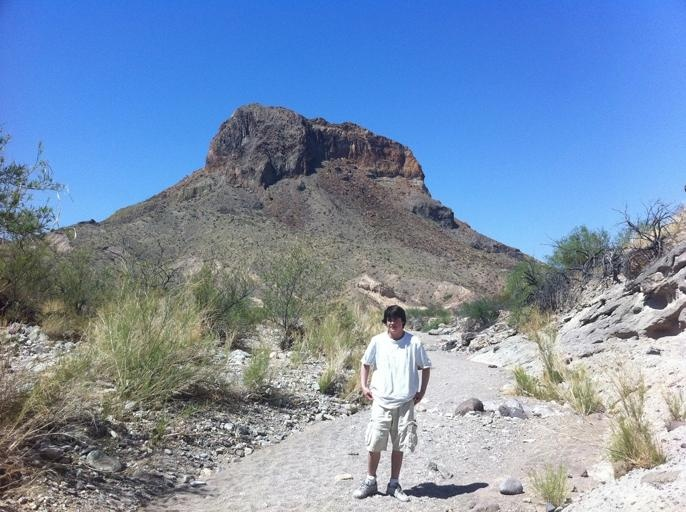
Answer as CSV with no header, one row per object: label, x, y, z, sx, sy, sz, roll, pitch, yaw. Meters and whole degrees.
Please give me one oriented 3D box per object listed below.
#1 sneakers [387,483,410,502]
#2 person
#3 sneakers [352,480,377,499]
sneakers,0.711,3.038,6.692,0.119,0.156,0.314,6,-19,-21
person,0.667,1.910,6.948,0.915,2.371,0.845,0,6,8
sneakers,0.287,3.039,6.785,0.378,0.206,0.140,8,-7,-44
